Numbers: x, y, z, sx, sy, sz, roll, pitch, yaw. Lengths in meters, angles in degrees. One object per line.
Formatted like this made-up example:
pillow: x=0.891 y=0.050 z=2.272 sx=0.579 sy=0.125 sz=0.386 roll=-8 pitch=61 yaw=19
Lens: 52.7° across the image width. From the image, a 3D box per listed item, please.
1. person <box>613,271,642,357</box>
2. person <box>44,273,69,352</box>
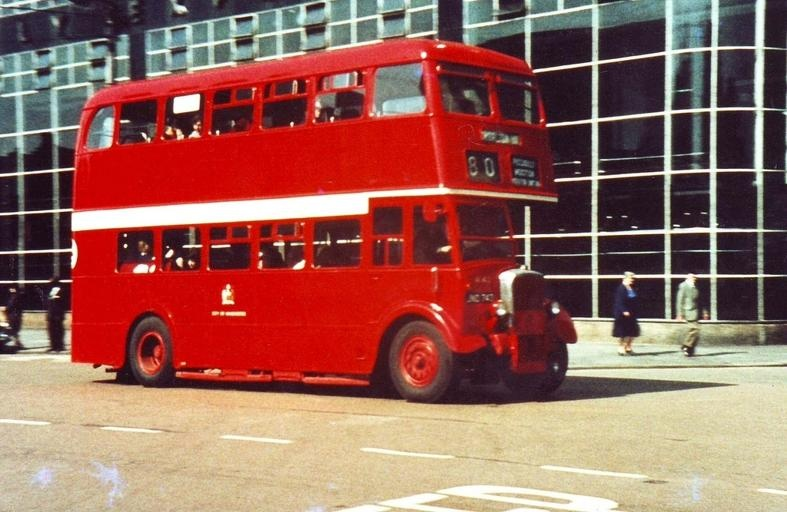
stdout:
person: x=6.134 y=1.523 z=21.075 sx=0.608 sy=2.166 sz=0.882 roll=-4 pitch=-5 yaw=32
person: x=-10.221 y=1.779 z=24.140 sx=0.462 sy=2.251 sz=0.676 roll=0 pitch=-5 yaw=-22
